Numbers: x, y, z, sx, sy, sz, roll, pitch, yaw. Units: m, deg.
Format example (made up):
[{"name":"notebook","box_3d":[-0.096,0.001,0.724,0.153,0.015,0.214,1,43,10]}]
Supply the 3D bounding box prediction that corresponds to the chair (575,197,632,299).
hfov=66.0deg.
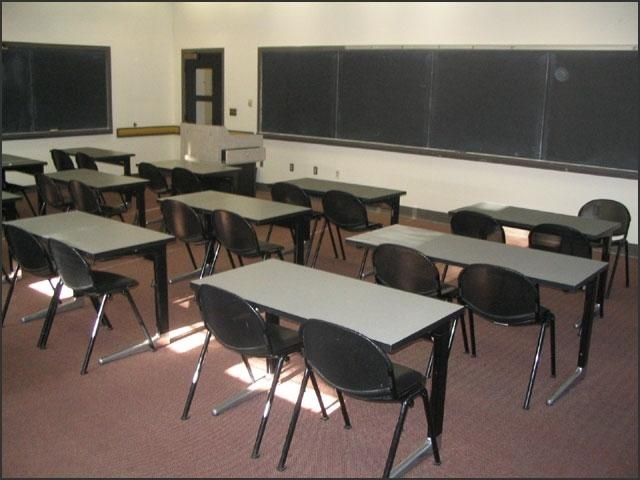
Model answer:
[{"name":"chair","box_3d":[2.885,0.069,5.143,0.610,0.918,0.560,-9,14,-25]}]

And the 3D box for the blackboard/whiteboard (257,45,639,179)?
[{"name":"blackboard/whiteboard","box_3d":[1.671,-2.070,7.373,5.409,2.078,0.430,7,16,32]}]

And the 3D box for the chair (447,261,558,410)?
[{"name":"chair","box_3d":[1.260,0.555,3.430,0.613,1.064,0.552,10,25,41]}]

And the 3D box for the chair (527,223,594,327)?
[{"name":"chair","box_3d":[1.950,0.145,4.023,0.327,0.607,0.412,13,33,38]}]

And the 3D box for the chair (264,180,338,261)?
[{"name":"chair","box_3d":[-0.039,-0.202,5.721,0.605,0.808,0.625,5,1,2]}]

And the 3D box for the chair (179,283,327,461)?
[{"name":"chair","box_3d":[-0.380,0.673,3.013,0.770,0.945,0.698,-8,18,-41]}]
